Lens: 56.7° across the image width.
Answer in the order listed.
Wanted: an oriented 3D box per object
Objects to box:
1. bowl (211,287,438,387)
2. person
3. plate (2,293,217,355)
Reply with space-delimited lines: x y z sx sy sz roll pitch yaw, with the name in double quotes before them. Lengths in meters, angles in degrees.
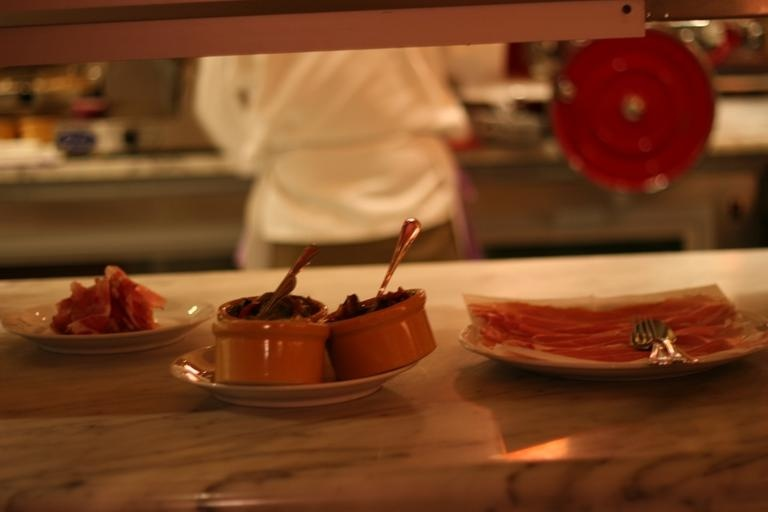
"bowl" -0.069 0.067 0.764 0.179 0.057 0.112 -14 6 -7
"person" -0.147 -0.335 1.993 0.800 0.647 0.406 -3 16 -11
"plate" -0.381 0.094 0.983 0.288 0.044 0.164 -6 20 -10
